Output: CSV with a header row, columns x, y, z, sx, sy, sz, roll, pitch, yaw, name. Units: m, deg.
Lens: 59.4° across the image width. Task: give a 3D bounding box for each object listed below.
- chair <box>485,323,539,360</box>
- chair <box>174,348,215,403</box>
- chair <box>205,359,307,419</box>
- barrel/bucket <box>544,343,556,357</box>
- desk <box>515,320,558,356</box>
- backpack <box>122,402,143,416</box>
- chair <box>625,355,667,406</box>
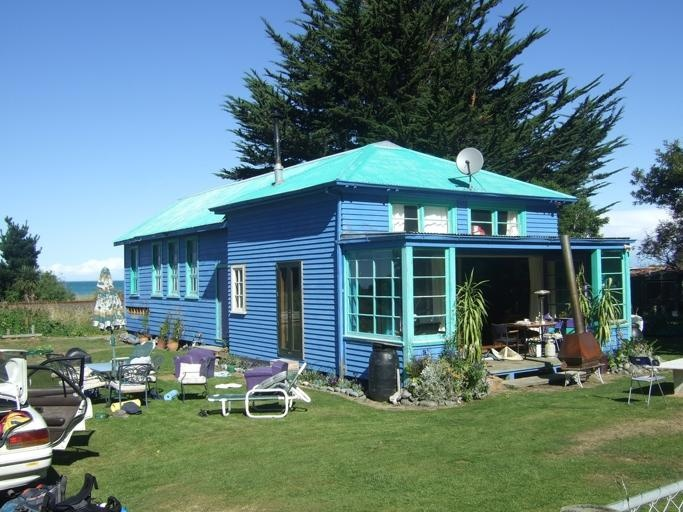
x,y,z,sx,sy,sz,roll,pitch,yaw,name
5.081,2.447,17.834,1.151,0.712,1.133,2,-4,-22,chair
-3.750,2.975,14.903,1.176,1.391,1.232,0,-8,-2,chair
-1.693,3.035,13.466,1.933,0.993,1.638,-1,3,9,chair
6.009,2.690,17.143,0.356,0.577,0.365,-1,-4,0,barrel/bucket
5.768,2.391,17.461,1.020,1.019,1.570,0,3,27,desk
-4.626,3.352,13.168,0.448,0.209,0.377,-1,3,23,backpack
7.023,2.814,13.672,0.729,0.992,0.624,4,-6,-20,chair
